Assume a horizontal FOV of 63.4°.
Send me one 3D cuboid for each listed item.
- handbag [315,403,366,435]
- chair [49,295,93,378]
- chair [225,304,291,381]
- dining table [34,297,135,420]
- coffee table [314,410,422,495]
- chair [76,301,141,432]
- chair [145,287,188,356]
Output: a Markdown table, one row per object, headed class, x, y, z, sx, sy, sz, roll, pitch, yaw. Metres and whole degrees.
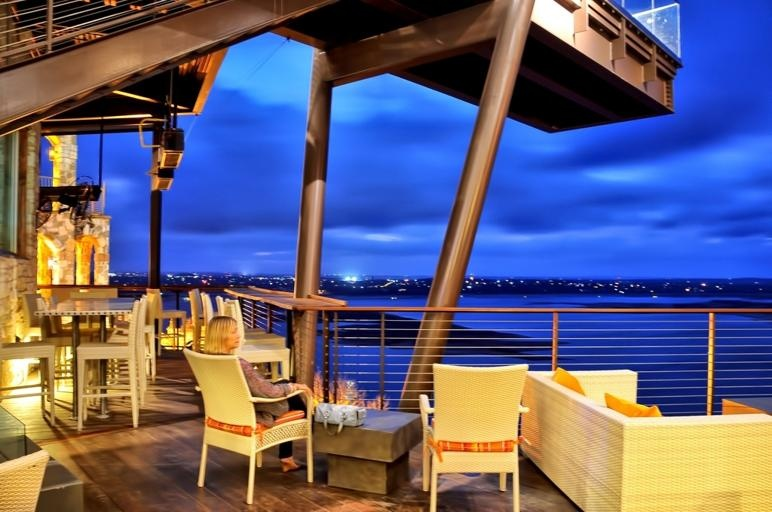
| class | x | y | z | sx | sy | sz | roll | pitch | yaw |
| --- | --- | --- | --- | --- | --- | --- | --- | --- | --- |
| handbag | -0.437 | 1.524 | 5.909 | 0.357 | 0.112 | 0.337 | 1 | -2 | 31 |
| chair | -3.998 | 1.039 | 7.947 | 0.509 | 0.609 | 1.491 | 2 | 0 | -27 |
| chair | -1.523 | 1.074 | 7.481 | 0.866 | 0.898 | 0.755 | 3 | 5 | -31 |
| dining table | -3.723 | 1.219 | 7.811 | 1.048 | 0.917 | 1.616 | 6 | -13 | -22 |
| coffee table | -0.255 | 1.871 | 6.120 | 0.943 | 0.494 | 0.805 | 2 | -1 | 25 |
| chair | -3.357 | 1.220 | 7.658 | 0.740 | 1.127 | 1.606 | 2 | 0 | -20 |
| chair | -3.668 | 1.069 | 10.487 | 0.793 | 0.759 | 0.631 | 1 | -9 | -4 |
